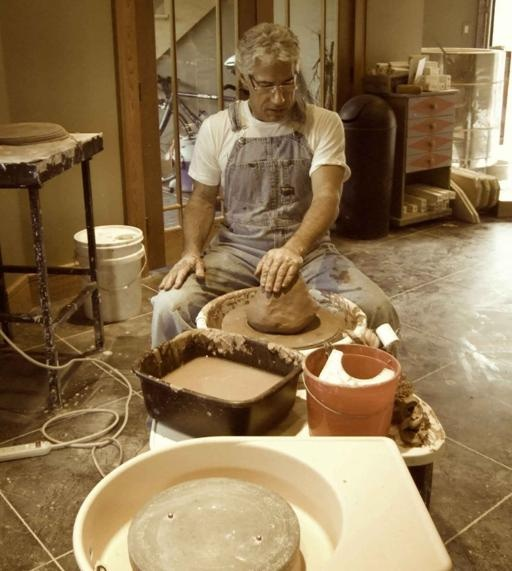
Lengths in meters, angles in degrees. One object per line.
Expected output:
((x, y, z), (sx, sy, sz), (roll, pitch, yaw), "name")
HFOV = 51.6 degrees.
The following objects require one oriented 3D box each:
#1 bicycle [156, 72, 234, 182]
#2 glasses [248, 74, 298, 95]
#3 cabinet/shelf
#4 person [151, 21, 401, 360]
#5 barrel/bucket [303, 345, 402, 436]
((-0.301, -1.250, 3.941), (0.394, 0.521, 0.814), (7, 32, 30), "bicycle")
((0.059, -0.795, 2.086), (0.180, 0.063, 0.106), (0, 17, 5), "glasses")
((1.356, -1.115, 4.658), (0.847, 1.339, 0.753), (-21, 30, -34), "cabinet/shelf")
((-0.013, -0.404, 2.126), (0.735, 1.196, 0.825), (1, 18, 11), "person")
((0.174, 0.203, 0.991), (0.172, 0.147, 0.193), (-2, 18, 0), "barrel/bucket")
